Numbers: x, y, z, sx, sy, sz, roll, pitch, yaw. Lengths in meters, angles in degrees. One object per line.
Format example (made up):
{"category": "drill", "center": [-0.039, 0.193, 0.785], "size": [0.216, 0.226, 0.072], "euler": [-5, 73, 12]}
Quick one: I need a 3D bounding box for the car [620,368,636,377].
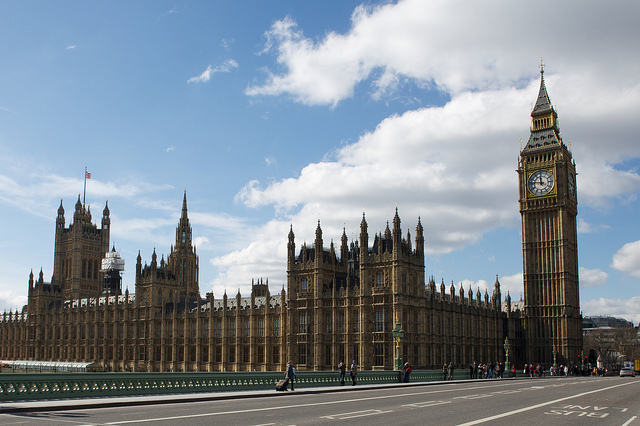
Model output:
{"category": "car", "center": [51.524, 26.975, 156.829], "size": [2.721, 1.384, 1.383], "euler": [8, -17, -35]}

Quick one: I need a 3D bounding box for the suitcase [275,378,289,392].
{"category": "suitcase", "center": [-4.559, 21.237, 114.782], "size": [1.184, 1.678, 0.664], "euler": [-13, -33, 34]}
